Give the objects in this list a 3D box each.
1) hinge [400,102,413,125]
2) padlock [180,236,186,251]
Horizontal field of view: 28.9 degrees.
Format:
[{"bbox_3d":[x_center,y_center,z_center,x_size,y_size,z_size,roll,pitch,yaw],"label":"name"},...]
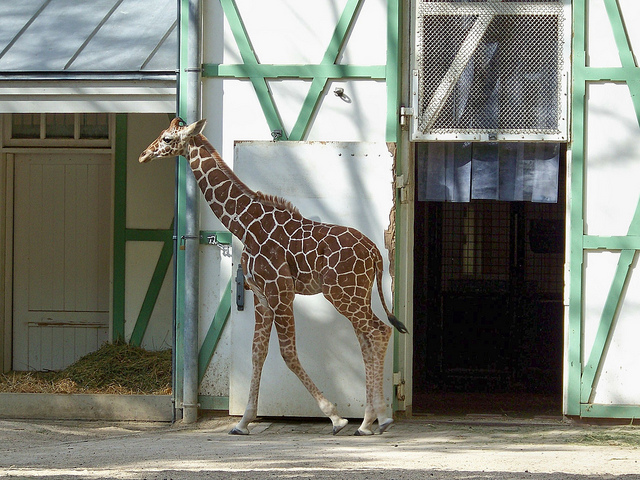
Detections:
[{"bbox_3d":[0.799,-1.185,11.657,0.119,0.207,0.192,0,2,3],"label":"hinge"},{"bbox_3d":[-1.312,0.024,11.791,0.067,0.137,0.031,0,1,7],"label":"padlock"}]
